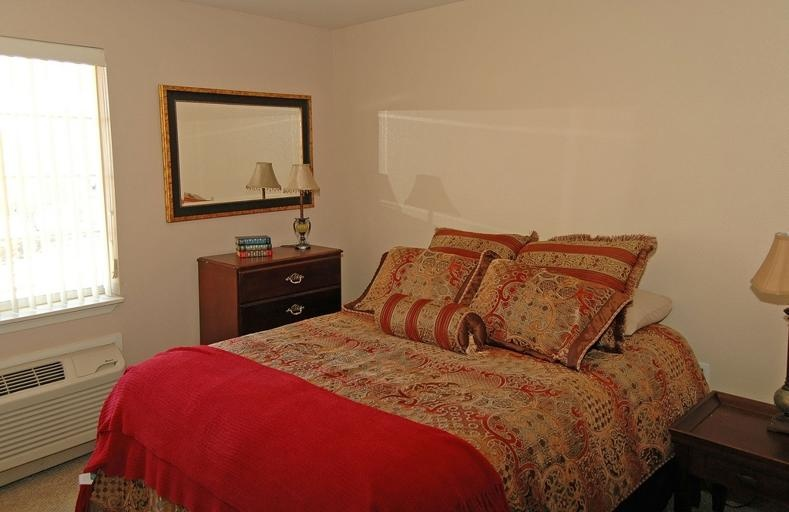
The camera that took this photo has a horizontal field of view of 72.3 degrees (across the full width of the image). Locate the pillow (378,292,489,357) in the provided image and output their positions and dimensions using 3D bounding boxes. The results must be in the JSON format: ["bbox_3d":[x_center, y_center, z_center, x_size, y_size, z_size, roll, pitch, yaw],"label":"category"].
[{"bbox_3d":[0.220,0.416,3.457,0.635,0.250,0.290,7,10,42],"label":"pillow"}]

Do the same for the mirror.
[{"bbox_3d":[-1.406,-0.877,4.614,1.289,0.996,0.050,-5,6,-37],"label":"mirror"}]

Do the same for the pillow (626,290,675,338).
[{"bbox_3d":[1.629,0.356,3.497,0.327,0.093,0.304,-30,37,-23],"label":"pillow"}]

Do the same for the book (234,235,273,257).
[{"bbox_3d":[-1.192,-0.088,4.520,0.259,0.159,0.316,-2,18,-25],"label":"book"}]

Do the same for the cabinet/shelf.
[{"bbox_3d":[-0.997,0.265,4.769,0.952,0.859,0.567,-19,43,-32],"label":"cabinet/shelf"}]

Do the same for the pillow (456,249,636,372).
[{"bbox_3d":[1.051,0.226,3.515,0.840,0.294,1.020,21,45,36],"label":"pillow"}]
